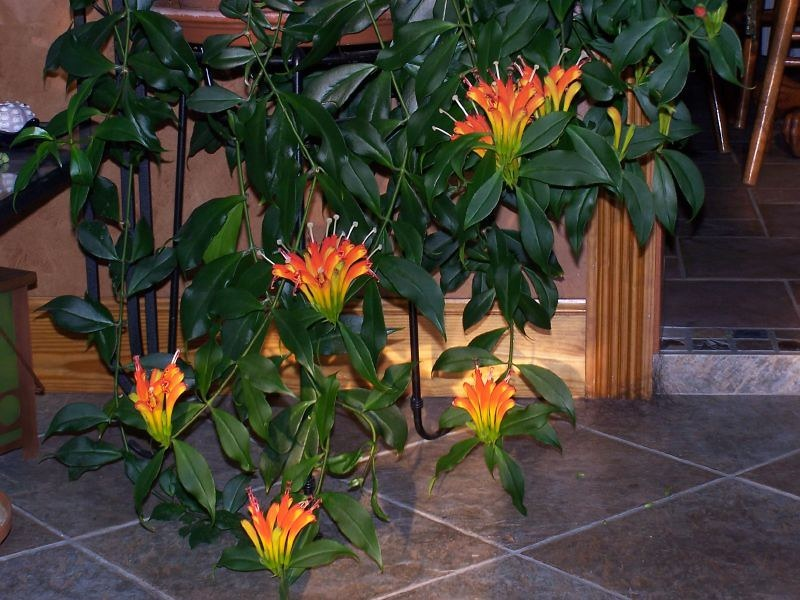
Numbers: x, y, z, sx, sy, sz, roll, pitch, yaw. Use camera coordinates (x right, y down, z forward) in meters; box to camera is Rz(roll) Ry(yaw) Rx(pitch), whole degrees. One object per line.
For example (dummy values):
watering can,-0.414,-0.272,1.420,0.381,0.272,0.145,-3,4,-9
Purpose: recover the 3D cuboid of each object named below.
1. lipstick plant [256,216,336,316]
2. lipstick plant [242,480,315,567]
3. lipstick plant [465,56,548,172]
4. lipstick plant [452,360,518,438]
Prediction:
lipstick plant,-0.151,-0.050,0.881,0.124,0.128,0.094,-7,60,-18
lipstick plant,-0.191,0.358,0.989,0.129,0.175,0.053,3,19,14
lipstick plant,0.161,-0.276,0.919,0.102,0.136,0.190,3,21,15
lipstick plant,0.129,0.153,0.965,0.089,0.128,0.102,0,19,6
